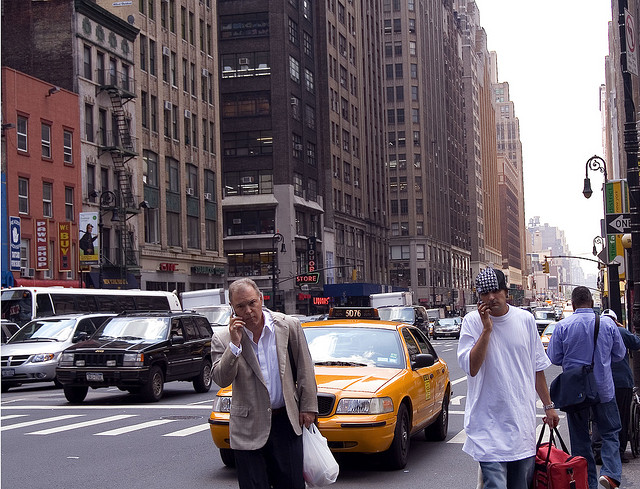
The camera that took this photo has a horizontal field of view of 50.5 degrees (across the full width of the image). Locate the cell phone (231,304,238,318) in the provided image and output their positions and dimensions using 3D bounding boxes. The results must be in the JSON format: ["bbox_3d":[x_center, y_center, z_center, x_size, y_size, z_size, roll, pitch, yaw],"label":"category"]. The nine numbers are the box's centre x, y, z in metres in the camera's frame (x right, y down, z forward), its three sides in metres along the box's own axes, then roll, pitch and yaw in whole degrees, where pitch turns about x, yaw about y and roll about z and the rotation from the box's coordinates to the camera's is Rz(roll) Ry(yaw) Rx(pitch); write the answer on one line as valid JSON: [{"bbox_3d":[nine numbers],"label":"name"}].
[{"bbox_3d":[-0.644,0.503,5.104,0.036,0.099,0.156,-3,-5,-10],"label":"cell phone"}]

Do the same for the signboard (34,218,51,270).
[{"bbox_3d":[-16.244,-0.051,39.641,0.765,3.023,0.273,-4,-4,3],"label":"signboard"}]

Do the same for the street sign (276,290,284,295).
[{"bbox_3d":[-4.010,4.941,69.015,0.630,0.506,0.373,1,7,2],"label":"street sign"}]

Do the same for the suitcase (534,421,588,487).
[{"bbox_3d":[1.866,1.630,5.281,0.565,0.437,0.465,2,-4,23],"label":"suitcase"}]

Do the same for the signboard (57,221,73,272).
[{"bbox_3d":[-15.566,0.100,41.368,0.811,3.076,0.517,-4,-4,1],"label":"signboard"}]
